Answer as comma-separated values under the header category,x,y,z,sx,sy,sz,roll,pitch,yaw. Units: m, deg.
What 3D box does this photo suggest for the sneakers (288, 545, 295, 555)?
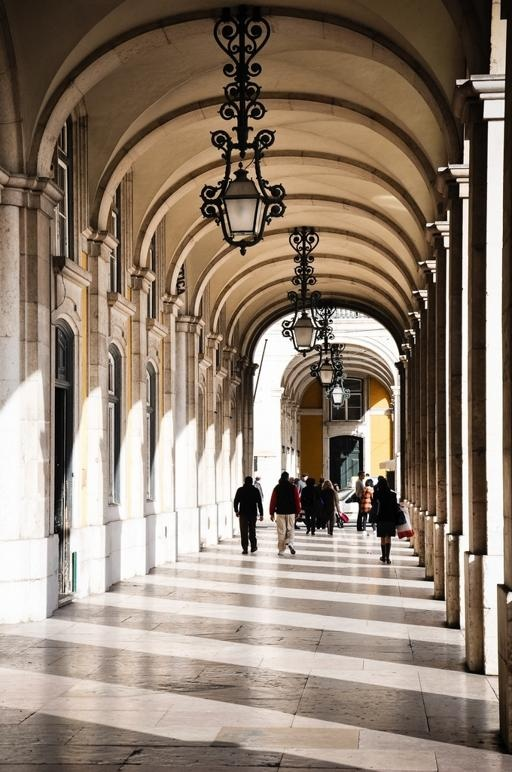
category,x,y,z,sx,sy,sz,roll,pitch,yaw
sneakers,0.672,3.122,19.623,0.080,0.271,0.093,-14,4,-8

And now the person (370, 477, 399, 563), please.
category,x,y,z,sx,sy,sz,roll,pitch,yaw
person,2.306,2.389,18.147,0.514,1.539,1.372,-2,-8,7
